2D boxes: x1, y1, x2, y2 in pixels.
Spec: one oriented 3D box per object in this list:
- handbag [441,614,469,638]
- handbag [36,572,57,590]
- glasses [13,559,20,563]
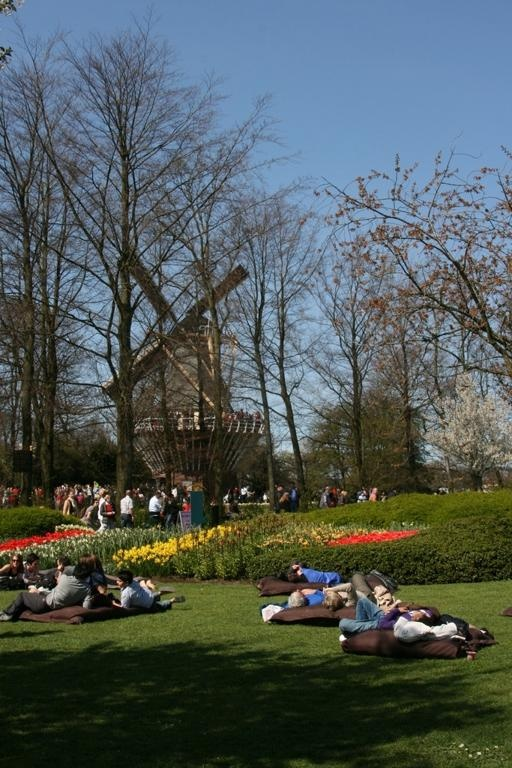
[{"bbox_3d":[1.920,2.317,8.269,0.201,0.077,0.191,16,10,-20],"label":"handbag"},{"bbox_3d":[-3.066,2.883,12.655,0.289,0.188,0.446,4,3,-6],"label":"handbag"},{"bbox_3d":[-3.564,2.619,12.791,0.084,0.080,0.027,3,5,-9],"label":"glasses"}]
